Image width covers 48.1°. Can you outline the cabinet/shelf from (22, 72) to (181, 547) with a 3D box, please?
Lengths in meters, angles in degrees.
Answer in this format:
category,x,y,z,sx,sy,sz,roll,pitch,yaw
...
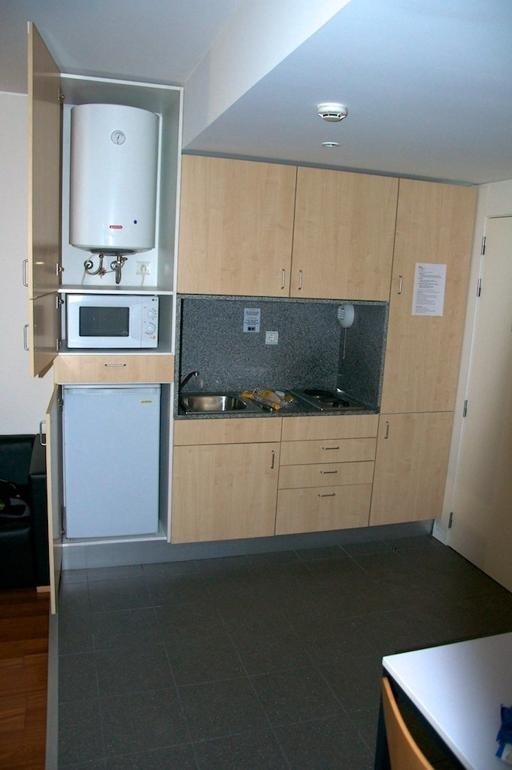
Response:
category,x,y,z,sx,sy,sz,roll,pitch,yaw
cabinet/shelf,-0.720,-0.306,2.943,0.599,2.368,1.063,1,9,-15

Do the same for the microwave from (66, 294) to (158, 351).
category,x,y,z,sx,sy,sz,roll,pitch,yaw
microwave,-0.732,-0.308,2.943,0.431,0.292,0.287,-1,7,-18
